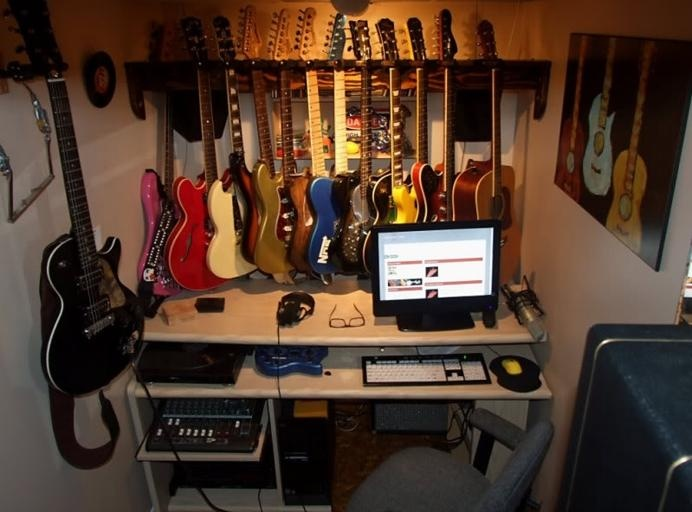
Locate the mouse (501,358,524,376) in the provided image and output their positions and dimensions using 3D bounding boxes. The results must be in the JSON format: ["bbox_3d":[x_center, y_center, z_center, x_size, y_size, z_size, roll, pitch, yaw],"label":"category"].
[{"bbox_3d":[0.791,0.523,2.620,0.088,0.032,0.102,-6,21,-9],"label":"mouse"}]

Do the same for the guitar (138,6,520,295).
[{"bbox_3d":[-0.091,-0.540,2.730,1.308,1.237,0.118,0,10,-1],"label":"guitar"}]

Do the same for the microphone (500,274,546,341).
[{"bbox_3d":[0.878,0.244,2.755,0.158,0.139,0.402,-15,35,8],"label":"microphone"}]
